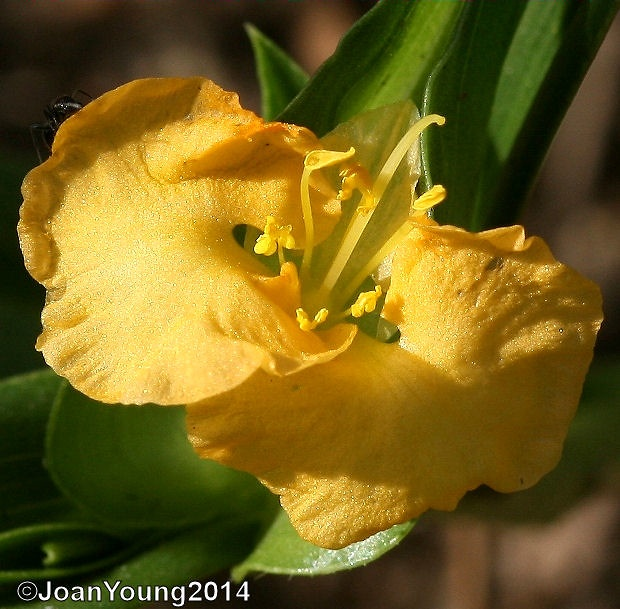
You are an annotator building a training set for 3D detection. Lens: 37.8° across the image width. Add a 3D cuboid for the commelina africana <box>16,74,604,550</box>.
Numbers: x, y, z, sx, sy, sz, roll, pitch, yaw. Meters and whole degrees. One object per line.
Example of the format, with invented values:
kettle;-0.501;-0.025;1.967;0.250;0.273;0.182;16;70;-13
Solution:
commelina africana;-0.101;0.023;0.923;0.510;0.228;0.481;-34;81;-26
